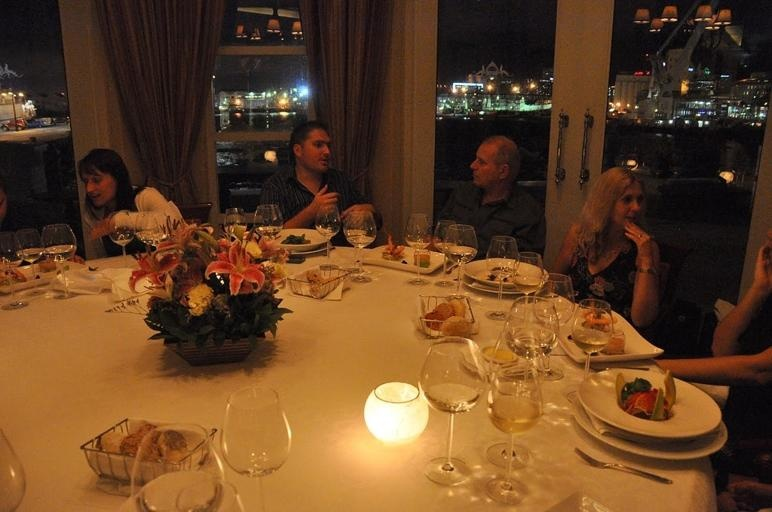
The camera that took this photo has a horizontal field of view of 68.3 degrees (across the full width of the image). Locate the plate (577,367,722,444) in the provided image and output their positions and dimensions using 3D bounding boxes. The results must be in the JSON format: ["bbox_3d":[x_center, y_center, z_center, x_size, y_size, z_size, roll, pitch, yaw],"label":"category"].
[{"bbox_3d":[0.786,0.460,1.741,0.257,0.044,0.258,-6,16,-22],"label":"plate"}]

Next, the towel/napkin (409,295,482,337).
[{"bbox_3d":[0.229,0.224,2.187,0.174,0.056,0.173,-1,17,-2],"label":"towel/napkin"}]

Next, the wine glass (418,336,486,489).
[{"bbox_3d":[0.196,0.414,1.618,0.173,0.380,0.258,7,19,23],"label":"wine glass"}]

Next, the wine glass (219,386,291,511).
[{"bbox_3d":[-0.336,0.506,1.498,0.165,0.322,0.223,-5,18,-12],"label":"wine glass"}]

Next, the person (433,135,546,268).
[{"bbox_3d":[0.683,-0.366,3.578,0.430,0.679,0.813,-3,26,-27],"label":"person"}]

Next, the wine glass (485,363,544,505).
[{"bbox_3d":[0.357,0.460,1.571,0.132,0.354,0.244,5,19,20],"label":"wine glass"}]

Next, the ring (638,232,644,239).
[{"bbox_3d":[1.289,-0.106,2.886,0.028,0.026,0.007,-3,-24,41],"label":"ring"}]

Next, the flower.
[{"bbox_3d":[-0.593,0.129,2.071,0.540,0.366,0.497,-14,19,7],"label":"flower"}]
